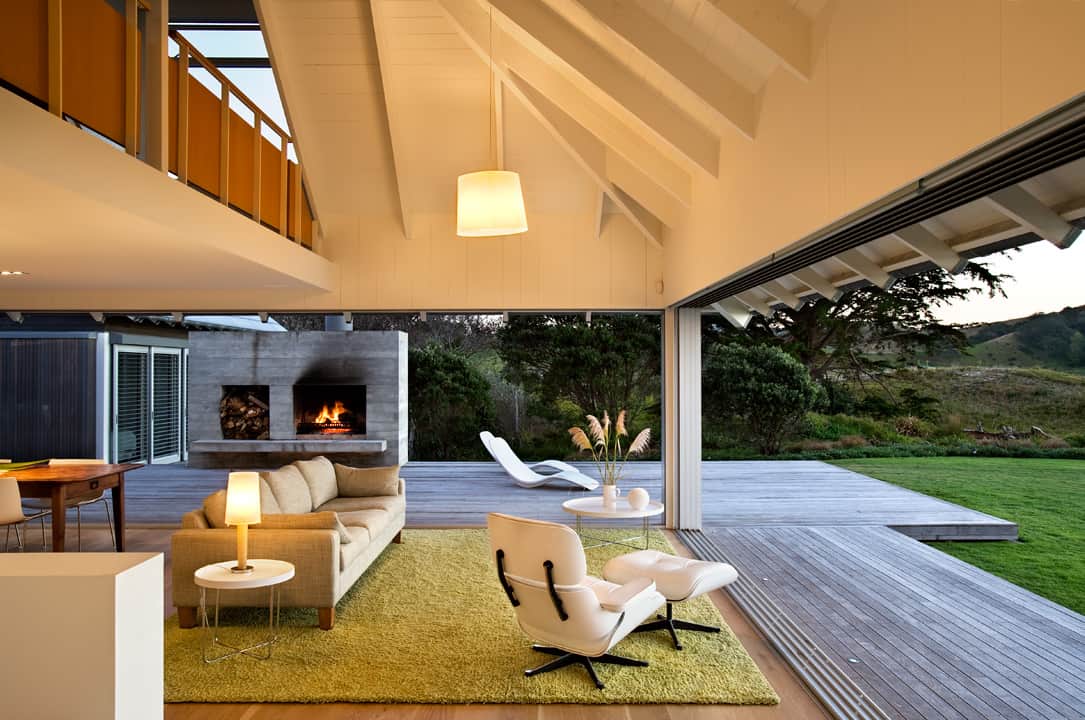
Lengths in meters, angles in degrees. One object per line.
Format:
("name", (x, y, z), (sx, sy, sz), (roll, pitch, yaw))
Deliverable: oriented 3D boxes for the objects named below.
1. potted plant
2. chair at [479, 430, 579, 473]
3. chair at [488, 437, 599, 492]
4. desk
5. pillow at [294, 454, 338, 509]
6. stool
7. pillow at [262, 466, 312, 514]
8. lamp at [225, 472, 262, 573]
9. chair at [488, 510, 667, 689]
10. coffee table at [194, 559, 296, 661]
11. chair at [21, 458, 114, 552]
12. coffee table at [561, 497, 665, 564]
("potted plant", (1.041, 1.289, 9.007), (1.070, 1.162, 1.032), (7, -35, -6))
("chair", (-0.212, 1.832, 12.026), (2.289, 0.901, 0.819), (1, -1, 5))
("chair", (-0.123, 1.905, 11.332), (1.619, 0.683, 0.945), (0, -3, 1))
("desk", (-5.379, 1.546, 7.127), (1.081, 0.708, 1.148), (1, -7, -10))
("pillow", (-2.615, 1.410, 7.144), (0.161, 0.306, 0.469), (-6, 1, 5))
("stool", (1.104, 2.063, 5.466), (0.798, 0.651, 1.109), (4, -8, -32))
("pillow", (-2.745, 1.405, 6.515), (0.180, 0.457, 0.456), (-26, -3, 13))
("lamp", (-2.413, 1.283, 5.010), (0.270, 0.743, 0.230), (1, 1, 19))
("chair", (0.296, 1.860, 4.998), (1.145, 1.246, 1.328), (-4, -7, 42))
("coffee table", (-2.446, 1.980, 5.108), (0.812, 0.779, 0.834), (2, -8, -12))
("chair", (-5.203, 1.734, 7.192), (1.024, 0.725, 0.809), (-16, -7, 42))
("coffee table", (0.827, 1.815, 6.970), (1.095, 0.452, 1.095), (-2, -4, 38))
